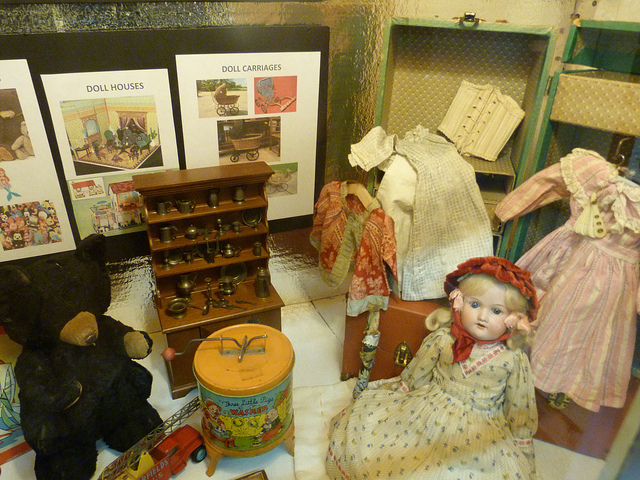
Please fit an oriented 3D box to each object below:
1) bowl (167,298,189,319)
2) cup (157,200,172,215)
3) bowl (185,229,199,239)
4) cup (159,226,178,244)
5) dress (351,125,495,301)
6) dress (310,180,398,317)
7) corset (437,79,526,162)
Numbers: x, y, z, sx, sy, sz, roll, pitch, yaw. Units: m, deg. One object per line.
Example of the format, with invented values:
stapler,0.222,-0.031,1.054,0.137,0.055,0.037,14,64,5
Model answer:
bowl,-1.216,0.586,3.963,0.172,0.055,0.240,-5,32,-9
cup,-1.282,-0.269,3.851,0.113,0.108,0.074,4,28,-6
bowl,-1.100,-0.050,4.035,0.074,0.050,0.076,1,18,0
cup,-1.278,-0.044,3.917,0.146,0.144,0.097,1,27,-8
dress,1.285,-0.102,4.154,1.077,1.191,1.111,0,-13,21
dress,0.265,0.029,4.146,0.447,1.008,1.231,-14,31,-29
corset,1.547,-1.113,4.516,0.677,0.710,0.262,31,17,10
